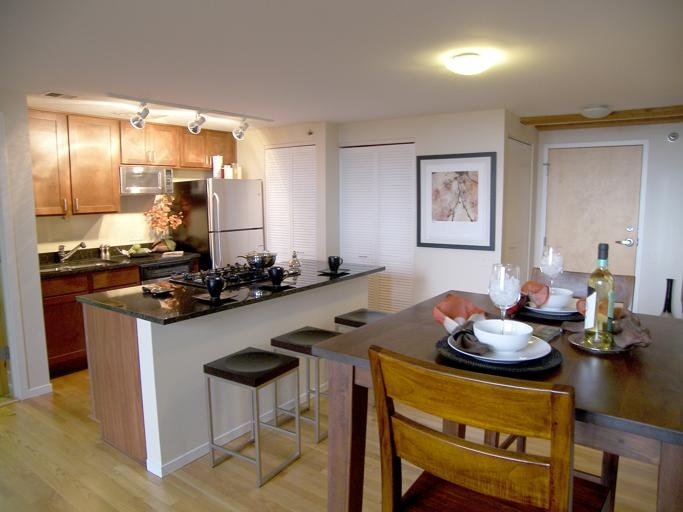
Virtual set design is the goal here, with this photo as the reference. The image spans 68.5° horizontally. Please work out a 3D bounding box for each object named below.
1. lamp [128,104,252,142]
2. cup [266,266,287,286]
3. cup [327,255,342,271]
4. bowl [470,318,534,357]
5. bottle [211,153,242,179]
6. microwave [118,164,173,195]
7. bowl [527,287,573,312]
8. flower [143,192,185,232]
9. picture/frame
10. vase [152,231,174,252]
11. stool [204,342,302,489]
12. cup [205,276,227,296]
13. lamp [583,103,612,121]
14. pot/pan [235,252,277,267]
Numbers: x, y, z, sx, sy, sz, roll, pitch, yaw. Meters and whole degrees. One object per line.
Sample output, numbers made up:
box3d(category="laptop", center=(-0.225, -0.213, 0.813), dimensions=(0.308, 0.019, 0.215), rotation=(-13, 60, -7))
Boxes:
box3d(category="lamp", center=(-1.408, -1.287, 4.841), dimensions=(1.094, 0.240, 0.200), rotation=(3, 3, -26))
box3d(category="cup", center=(-0.492, 0.154, 3.682), dimensions=(0.163, 0.105, 0.120), rotation=(1, 8, -9))
box3d(category="cup", center=(-0.068, 0.065, 4.177), dimensions=(0.099, 0.115, 0.150), rotation=(1, 3, 38))
box3d(category="bowl", center=(0.649, 0.335, 2.036), dimensions=(0.231, 0.077, 0.210), rotation=(2, 6, 11))
box3d(category="bottle", center=(-1.332, -1.101, 6.282), dimensions=(0.460, 0.374, 0.240), rotation=(2, 12, 11))
box3d(category="microwave", center=(-2.159, -0.835, 5.489), dimensions=(0.377, 0.250, 0.553), rotation=(5, 8, 26))
box3d(category="bowl", center=(1.078, 0.219, 2.523), dimensions=(0.154, 0.052, 0.139), rotation=(1, 10, 12))
box3d(category="flower", center=(-2.108, -0.519, 5.947), dimensions=(0.357, 0.436, 0.426), rotation=(25, 20, 30))
box3d(category="picture/frame", center=(1.228, -0.609, 5.243), dimensions=(1.261, 1.250, 0.075), rotation=(3, 9, 28))
box3d(category="vase", center=(-2.088, -0.168, 5.902), dimensions=(0.320, 0.250, 0.210), rotation=(1, 4, -4))
box3d(category="stool", center=(-0.530, 0.971, 3.344), dimensions=(0.595, 0.699, 0.729), rotation=(9, 17, 34))
box3d(category="cup", center=(-0.835, 0.206, 3.313), dimensions=(0.100, 0.120, 0.128), rotation=(-5, 15, -18))
box3d(category="lamp", center=(2.497, -1.421, 4.909), dimensions=(0.304, 0.101, 0.242), rotation=(-12, 17, -41))
box3d(category="pot/pan", center=(-0.660, 0.029, 4.133), dimensions=(0.212, 0.065, 0.140), rotation=(-9, 9, -37))
